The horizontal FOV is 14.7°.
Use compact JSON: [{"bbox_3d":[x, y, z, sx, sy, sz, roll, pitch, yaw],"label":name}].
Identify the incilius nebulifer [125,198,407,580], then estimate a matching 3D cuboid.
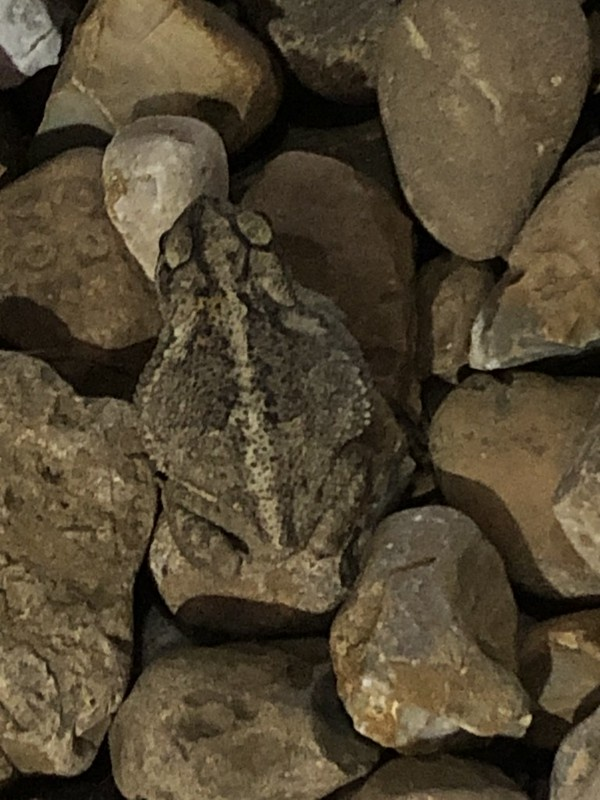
[{"bbox_3d":[-0.078,-0.024,4.145,0.375,0.172,0.632,-14,90,0],"label":"incilius nebulifer"}]
